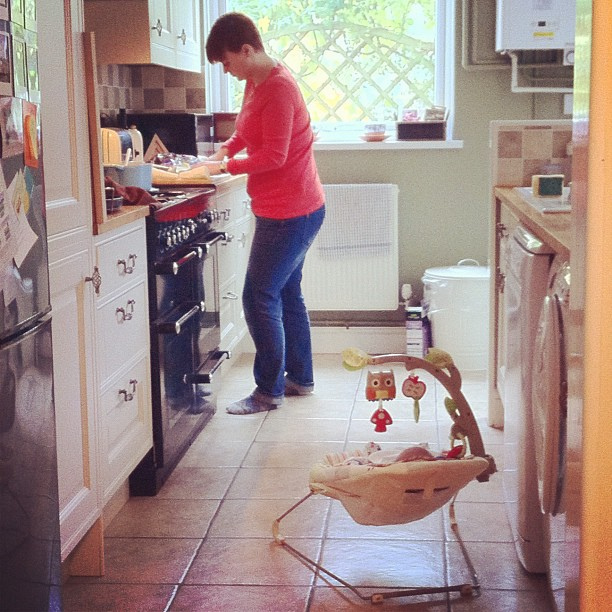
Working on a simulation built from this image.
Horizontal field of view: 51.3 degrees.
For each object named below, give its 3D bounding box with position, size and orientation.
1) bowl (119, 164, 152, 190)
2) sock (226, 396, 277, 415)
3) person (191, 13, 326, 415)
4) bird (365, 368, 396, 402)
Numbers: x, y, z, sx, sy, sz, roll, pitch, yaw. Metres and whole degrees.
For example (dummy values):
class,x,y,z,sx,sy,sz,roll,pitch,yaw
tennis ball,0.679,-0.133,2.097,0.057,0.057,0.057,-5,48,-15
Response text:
class,x,y,z,sx,sy,sz,roll,pitch,yaw
bowl,-0.592,-0.450,2.221,0.095,0.061,0.090,2,19,-1
sock,-0.266,0.458,2.993,0.194,0.063,0.092,3,-1,-2
person,-0.173,-0.354,2.863,0.517,1.713,0.532,-2,11,1
bird,0.188,0.206,1.621,0.108,0.105,0.065,-1,-6,3
